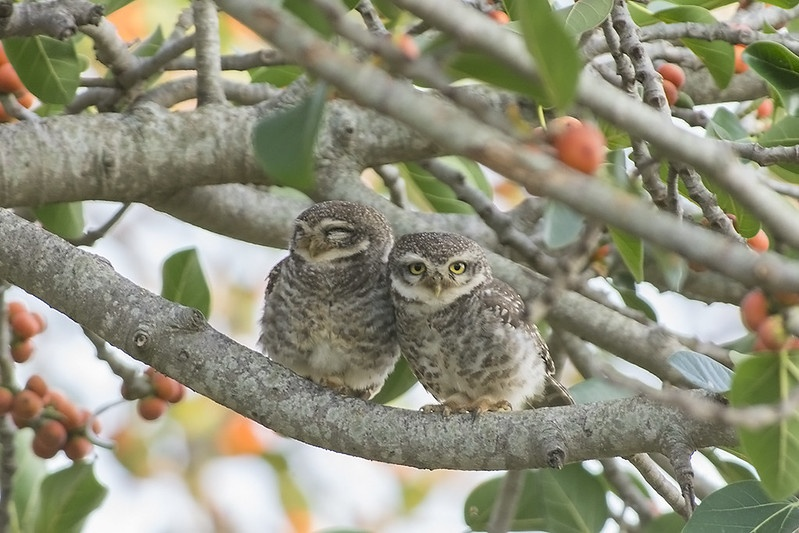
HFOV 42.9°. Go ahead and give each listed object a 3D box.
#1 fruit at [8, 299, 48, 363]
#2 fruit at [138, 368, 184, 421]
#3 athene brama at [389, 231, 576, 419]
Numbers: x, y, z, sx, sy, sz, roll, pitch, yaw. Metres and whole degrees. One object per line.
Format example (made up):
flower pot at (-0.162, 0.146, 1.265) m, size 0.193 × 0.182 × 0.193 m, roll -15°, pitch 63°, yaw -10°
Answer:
fruit at (-1.432, 0.248, 3.926) m, size 0.156 × 0.108 × 0.210 m, roll -8°, pitch 101°, yaw 18°
fruit at (-0.910, 0.493, 3.881) m, size 0.150 × 0.166 × 0.173 m, roll 6°, pitch 59°, yaw -1°
athene brama at (0.370, 0.267, 4.123) m, size 0.907 × 0.519 × 0.695 m, roll 9°, pitch 77°, yaw -45°
